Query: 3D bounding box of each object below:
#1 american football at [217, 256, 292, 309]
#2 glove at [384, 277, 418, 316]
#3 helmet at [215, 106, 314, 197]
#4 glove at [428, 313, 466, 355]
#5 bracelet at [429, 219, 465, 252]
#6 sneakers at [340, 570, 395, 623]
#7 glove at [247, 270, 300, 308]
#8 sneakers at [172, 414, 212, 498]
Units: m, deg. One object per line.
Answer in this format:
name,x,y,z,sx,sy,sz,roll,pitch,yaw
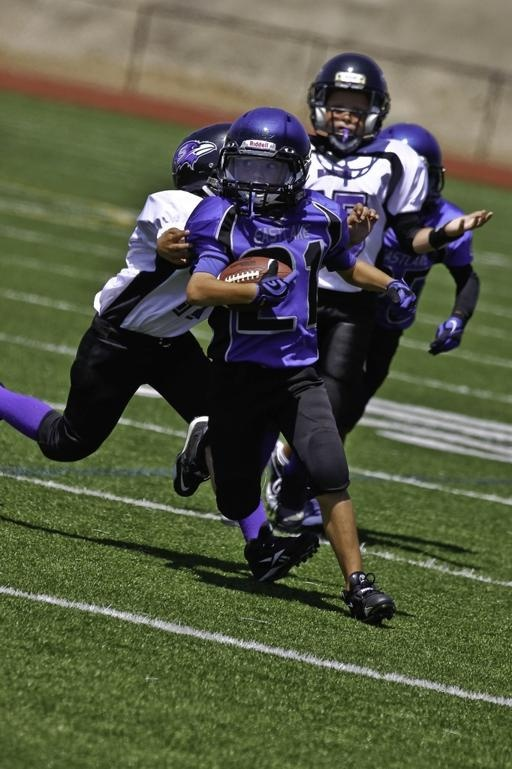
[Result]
american football,-0.013,-0.292,2.176,0.197,0.102,0.153,-2,0,43
glove,0.504,-0.303,2.608,0.128,0.056,0.091,44,3,8
helmet,0.026,-0.742,2.411,0.312,0.274,0.349,2,32,-6
glove,0.913,-0.252,3.580,0.146,0.228,0.106,29,-23,13
bracelet,0.807,-0.620,3.114,0.040,0.087,0.131,-36,37,-23
sneakers,0.341,0.653,2.336,0.115,0.134,0.299,-15,-8,-15
glove,0.047,-0.276,2.167,0.109,0.110,0.177,12,1,1
sneakers,-0.291,0.289,2.991,0.139,0.356,0.151,12,51,1
